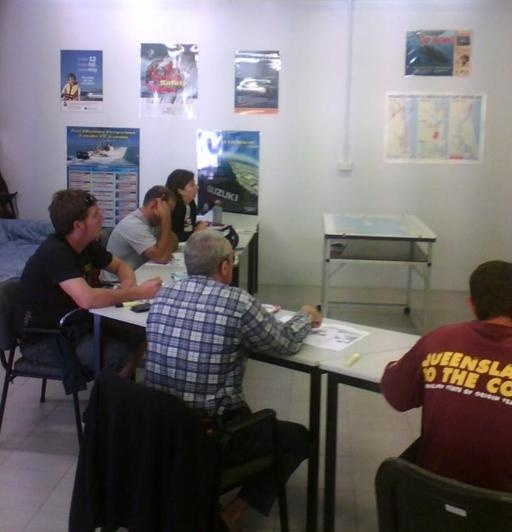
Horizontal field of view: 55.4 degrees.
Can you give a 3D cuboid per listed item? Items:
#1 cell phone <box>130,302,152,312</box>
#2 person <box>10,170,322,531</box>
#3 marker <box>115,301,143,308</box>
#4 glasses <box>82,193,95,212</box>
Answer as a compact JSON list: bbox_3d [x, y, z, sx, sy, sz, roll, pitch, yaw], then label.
[{"bbox_3d":[-0.556,0.193,2.337,0.087,0.025,0.125,-3,14,-15],"label":"cell phone"},{"bbox_3d":[-0.369,0.184,2.523,1.486,1.642,1.059,3,12,13],"label":"person"},{"bbox_3d":[-0.630,0.185,2.378,0.075,0.019,0.021,-8,20,-15],"label":"marker"},{"bbox_3d":[-0.825,-0.321,2.396,0.056,0.083,0.079,-2,6,2],"label":"glasses"}]
